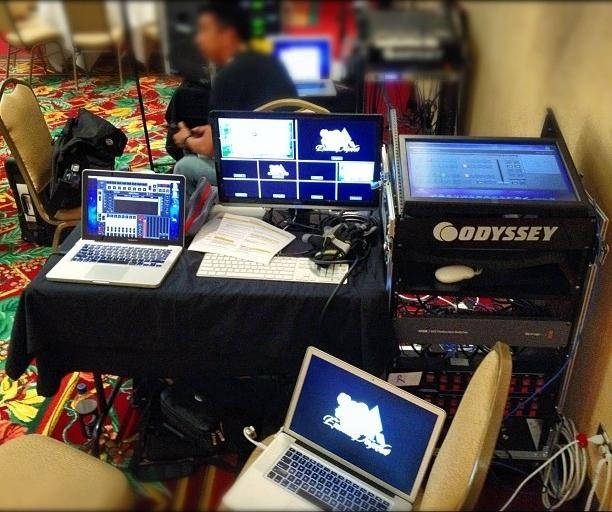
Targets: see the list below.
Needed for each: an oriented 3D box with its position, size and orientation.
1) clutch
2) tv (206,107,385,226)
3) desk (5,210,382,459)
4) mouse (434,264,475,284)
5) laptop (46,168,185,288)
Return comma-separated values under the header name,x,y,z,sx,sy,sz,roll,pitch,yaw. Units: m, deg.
name,x,y,z,sx,sy,sz,roll,pitch,yaw
clutch,-0.461,0.641,2.063,0.291,0.095,0.198,34,44,11
tv,-0.033,-0.332,1.925,0.731,0.361,0.057,1,39,1
desk,-0.374,0.207,1.704,0.852,0.253,0.714,4,41,2
mouse,0.483,0.055,1.662,0.119,0.028,0.058,-7,45,-1
laptop,-0.678,-0.100,1.799,0.471,0.257,0.363,10,36,19
